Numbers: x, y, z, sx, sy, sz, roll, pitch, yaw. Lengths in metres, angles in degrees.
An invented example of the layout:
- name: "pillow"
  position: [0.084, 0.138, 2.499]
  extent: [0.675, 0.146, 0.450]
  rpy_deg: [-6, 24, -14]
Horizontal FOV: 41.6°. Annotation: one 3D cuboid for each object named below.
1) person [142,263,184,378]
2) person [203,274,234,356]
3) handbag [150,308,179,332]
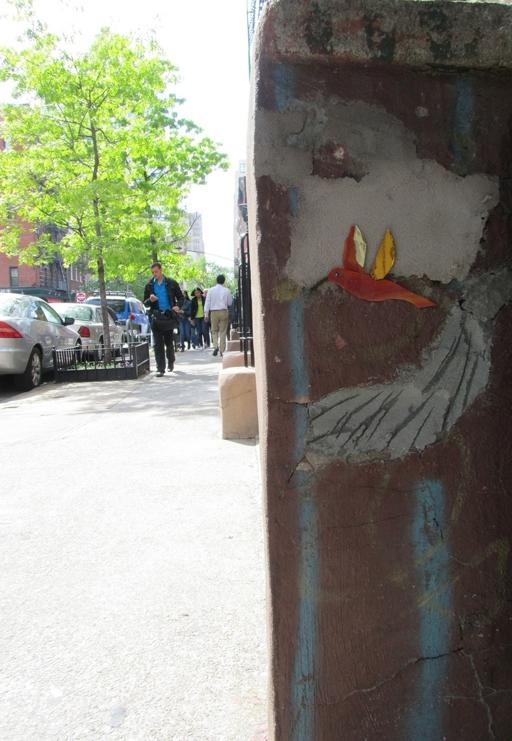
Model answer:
- name: "person"
  position: [-1.528, -0.849, 11.237]
  extent: [0.622, 1.885, 1.562]
  rpy_deg: [-3, 6, -8]
- name: "person"
  position: [-0.835, -1.287, 14.783]
  extent: [0.508, 1.813, 0.498]
  rpy_deg: [-3, 21, -12]
- name: "handbag"
  position: [-1.454, -0.785, 10.752]
  extent: [0.481, 0.508, 0.270]
  rpy_deg: [-4, 0, -19]
